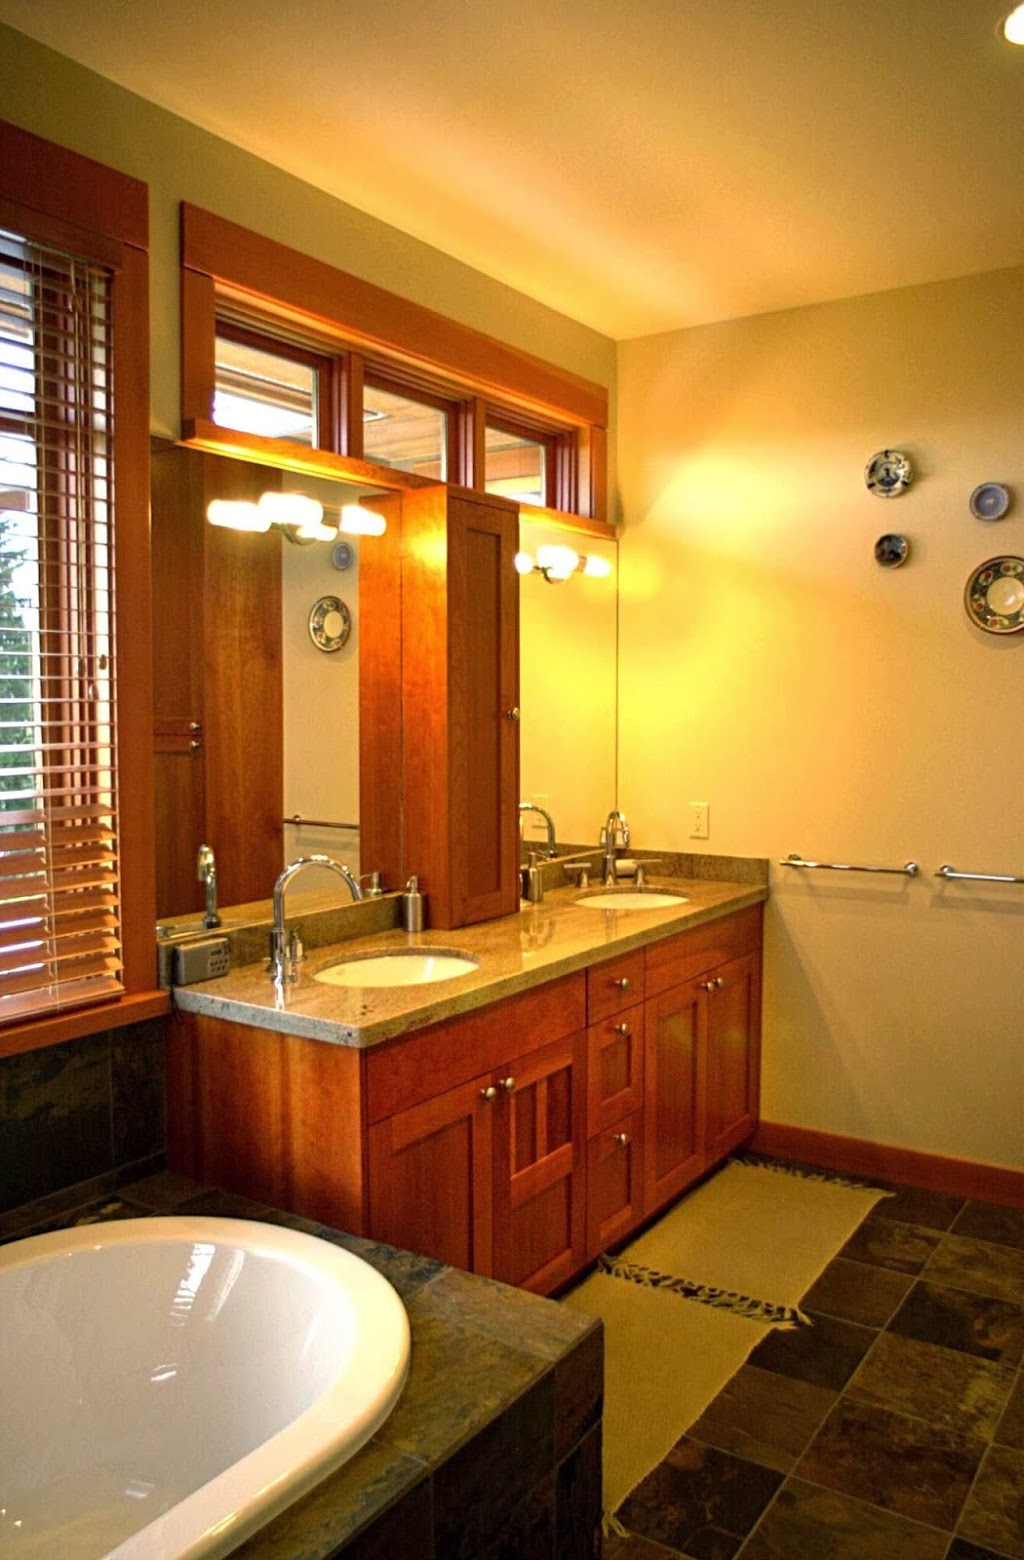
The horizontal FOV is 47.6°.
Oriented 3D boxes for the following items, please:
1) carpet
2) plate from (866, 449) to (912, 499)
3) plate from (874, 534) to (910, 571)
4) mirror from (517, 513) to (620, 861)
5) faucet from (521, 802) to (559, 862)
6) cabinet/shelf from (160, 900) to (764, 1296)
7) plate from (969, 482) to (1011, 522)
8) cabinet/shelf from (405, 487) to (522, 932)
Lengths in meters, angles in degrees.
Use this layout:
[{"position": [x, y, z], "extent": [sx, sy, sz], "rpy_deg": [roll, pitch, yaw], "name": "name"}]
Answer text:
[{"position": [0.417, 1.169, 2.636], "extent": [0.377, 0.020, 1.179], "rpy_deg": [0, 3, 24], "name": "carpet"}, {"position": [1.039, -0.839, 3.209], "extent": [0.029, 0.128, 0.121], "rpy_deg": [-8, 20, -43], "name": "plate"}, {"position": [1.045, -0.622, 3.213], "extent": [0.021, 0.095, 0.086], "rpy_deg": [-3, 3, -45], "name": "plate"}, {"position": [0.170, -0.278, 3.442], "extent": [0.149, 0.971, 0.735], "rpy_deg": [0, 1, 15], "name": "mirror"}, {"position": [0.075, 0.147, 3.300], "extent": [0.044, 0.173, 0.270], "rpy_deg": [0, 1, 18], "name": "faucet"}, {"position": [-0.113, 0.620, 2.266], "extent": [0.253, 0.436, 0.879], "rpy_deg": [1, 5, 27], "name": "cabinet/shelf"}, {"position": [1.253, -0.726, 3.047], "extent": [0.023, 0.100, 0.094], "rpy_deg": [-8, 15, -38], "name": "plate"}, {"position": [-0.126, -0.156, 2.856], "extent": [0.141, 1.060, 0.302], "rpy_deg": [3, 6, 32], "name": "cabinet/shelf"}]
